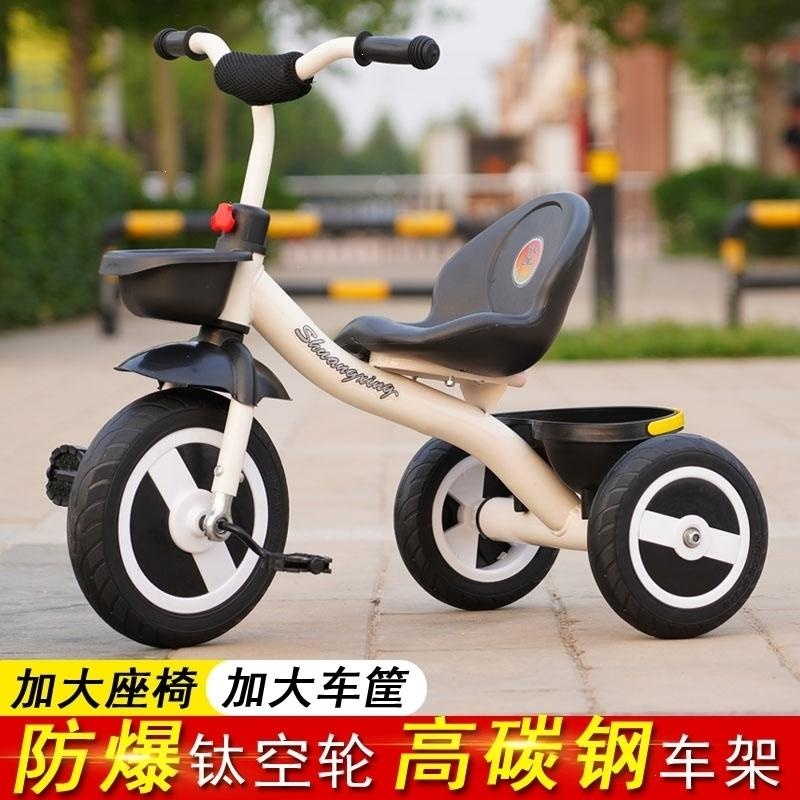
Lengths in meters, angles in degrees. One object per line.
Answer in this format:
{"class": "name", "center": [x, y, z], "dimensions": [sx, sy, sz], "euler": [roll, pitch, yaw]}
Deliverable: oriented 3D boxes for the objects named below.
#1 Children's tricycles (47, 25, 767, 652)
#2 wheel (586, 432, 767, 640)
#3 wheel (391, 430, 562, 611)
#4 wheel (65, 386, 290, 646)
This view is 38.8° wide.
{"class": "Children's tricycles", "center": [0.059, -0.087, 3.723], "dimensions": [2.363, 1.709, 1.496], "euler": [2, -1, -22]}
{"class": "wheel", "center": [0.721, 0.360, 2.996], "dimensions": [0.618, 0.549, 0.156], "euler": [-4, 1, -18]}
{"class": "wheel", "center": [0.239, 0.358, 3.368], "dimensions": [0.454, 0.457, 0.143], "euler": [-28, 3, -9]}
{"class": "wheel", "center": [-0.549, 0.311, 2.834], "dimensions": [0.651, 0.633, 0.222], "euler": [17, -10, -40]}
